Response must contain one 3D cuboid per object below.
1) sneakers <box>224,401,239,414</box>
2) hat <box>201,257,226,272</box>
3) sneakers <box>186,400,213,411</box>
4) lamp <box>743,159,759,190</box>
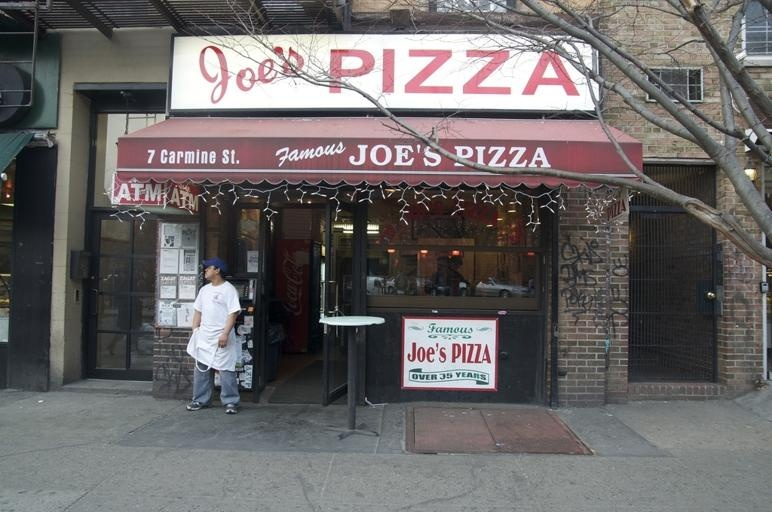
[{"bbox_3d":[-2.503,2.465,12.839,0.217,0.175,0.287,0,-1,-11],"label":"sneakers"},{"bbox_3d":[-2.818,0.127,12.961,0.360,0.190,0.220,10,-3,-7],"label":"hat"},{"bbox_3d":[-3.079,2.466,12.987,0.404,0.160,0.143,18,-12,-40],"label":"sneakers"},{"bbox_3d":[6.247,-1.429,13.529,0.307,0.504,0.162,0,-2,-19],"label":"lamp"}]
